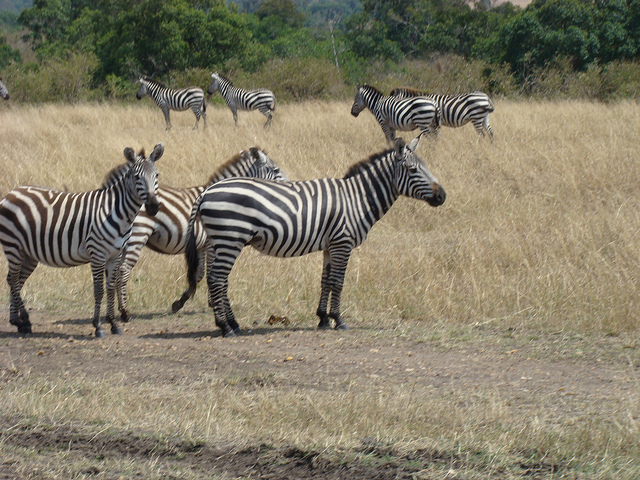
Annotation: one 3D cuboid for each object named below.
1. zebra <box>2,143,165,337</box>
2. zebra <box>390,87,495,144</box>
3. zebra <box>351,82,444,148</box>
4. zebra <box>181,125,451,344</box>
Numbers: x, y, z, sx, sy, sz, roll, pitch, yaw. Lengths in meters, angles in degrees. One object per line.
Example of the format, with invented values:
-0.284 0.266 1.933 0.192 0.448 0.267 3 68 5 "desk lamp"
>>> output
-3.706 0.139 14.967 3.039 2.795 0.959 -1 -5 18 "zebra"
2.825 -2.738 20.993 2.440 1.555 0.729 -3 25 14 "zebra"
1.807 -2.678 20.810 2.288 1.526 0.644 5 20 37 "zebra"
0.071 -0.101 14.278 3.929 3.145 1.182 -2 14 -7 "zebra"
